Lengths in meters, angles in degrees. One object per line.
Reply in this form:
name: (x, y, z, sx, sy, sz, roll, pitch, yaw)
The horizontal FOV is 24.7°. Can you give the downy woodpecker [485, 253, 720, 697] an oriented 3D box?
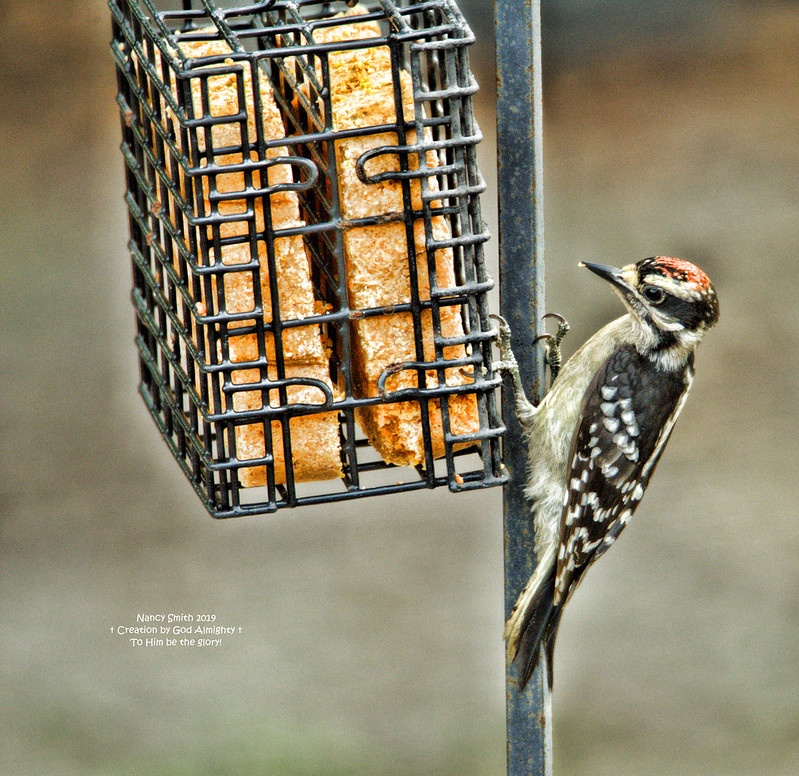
downy woodpecker: (0.536, 0.143, 4.447, 0.541, 1.077, 0.791, 2, -58, 2)
